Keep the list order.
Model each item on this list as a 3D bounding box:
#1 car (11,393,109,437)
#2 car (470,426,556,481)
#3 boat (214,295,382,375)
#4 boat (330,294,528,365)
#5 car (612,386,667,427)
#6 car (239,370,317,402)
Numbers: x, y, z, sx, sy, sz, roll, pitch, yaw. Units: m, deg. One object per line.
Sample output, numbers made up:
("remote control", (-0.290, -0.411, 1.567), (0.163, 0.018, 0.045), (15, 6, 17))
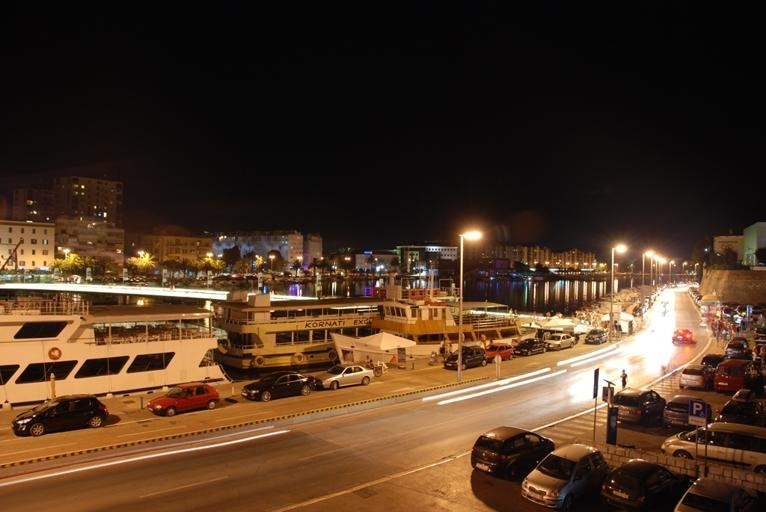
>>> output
("car", (-17.585, 8.750, 33.759), (4.404, 1.703, 1.033), (-3, 9, -23))
("car", (6.416, 9.575, 30.302), (3.499, 1.687, 2.037), (-9, 7, -37))
("boat", (-5.722, 6.690, 56.881), (14.233, 4.954, 5.552), (-1, 4, -14))
("boat", (5.185, 6.576, 57.654), (21.365, 6.278, 5.448), (-3, 8, -23))
("car", (15.455, 8.779, 36.523), (4.246, 1.877, 2.228), (-4, 2, -33))
("car", (-6.663, 8.480, 40.044), (4.274, 1.385, 1.760), (3, -3, -29))
